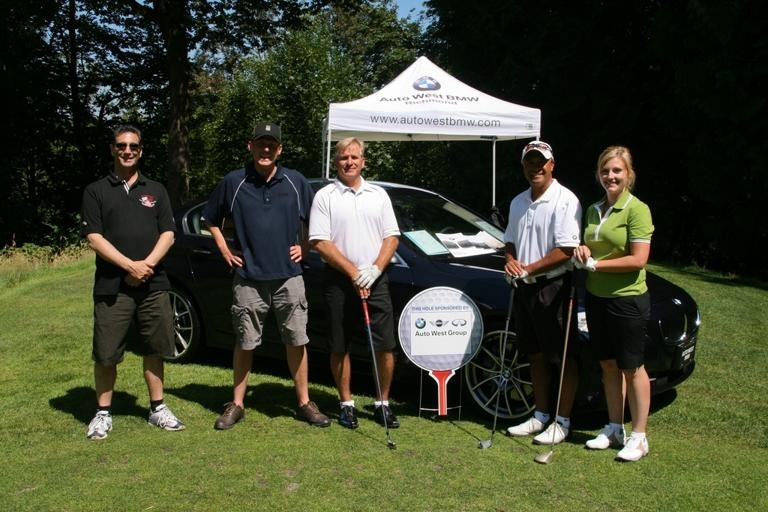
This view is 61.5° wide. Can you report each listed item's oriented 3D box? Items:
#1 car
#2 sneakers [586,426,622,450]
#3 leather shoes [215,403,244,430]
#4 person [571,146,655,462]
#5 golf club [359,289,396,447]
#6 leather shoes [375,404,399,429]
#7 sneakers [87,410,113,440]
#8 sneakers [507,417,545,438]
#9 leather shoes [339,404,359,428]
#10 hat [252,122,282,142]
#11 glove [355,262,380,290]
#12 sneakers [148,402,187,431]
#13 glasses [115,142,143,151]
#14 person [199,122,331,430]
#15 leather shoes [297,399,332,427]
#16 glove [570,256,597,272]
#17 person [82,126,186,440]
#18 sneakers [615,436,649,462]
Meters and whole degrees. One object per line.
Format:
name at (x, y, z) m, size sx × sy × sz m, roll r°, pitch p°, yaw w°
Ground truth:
car at (0.510, 0.529, 7.047) m, size 6.190 × 2.038 × 2.715 m, roll 2°, pitch 5°, yaw 32°
sneakers at (2.090, 1.770, 6.252) m, size 0.428 × 0.213 × 0.161 m, roll -1°, pitch -4°, yaw -9°
leather shoes at (-1.548, 1.610, 6.457) m, size 0.182 × 0.207 × 0.298 m, roll 5°, pitch 9°, yaw 24°
person at (2.225, 0.430, 6.190) m, size 0.787 × 2.939 × 0.603 m, roll 5°, pitch 9°, yaw 24°
golf club at (-0.056, 1.119, 6.565) m, size 0.114 × 1.502 × 0.219 m, roll -9°, pitch 9°, yaw 15°
leather shoes at (0.017, 1.644, 6.620) m, size 0.126 × 0.153 × 0.360 m, roll -5°, pitch 1°, yaw -32°
sneakers at (-2.739, 1.635, 6.247) m, size 0.262 × 0.232 × 0.241 m, roll -4°, pitch 10°, yaw -34°
sneakers at (1.428, 1.733, 6.499) m, size 0.374 × 0.165 × 0.158 m, roll -2°, pitch 0°, yaw -5°
leather shoes at (-0.352, 1.648, 6.497) m, size 0.108 × 0.155 × 0.323 m, roll 1°, pitch -7°, yaw -19°
hat at (-1.163, -1.247, 6.456) m, size 0.290 × 0.195 × 0.195 m, roll -2°, pitch 9°, yaw -22°
glove at (-0.154, 0.204, 6.320) m, size 0.242 × 0.187 × 0.073 m, roll -34°, pitch 3°, yaw -13°
sneakers at (-2.144, 1.603, 6.437) m, size 0.370 × 0.185 × 0.191 m, roll 13°, pitch 10°, yaw 20°
glasses at (-2.470, -1.059, 6.232) m, size 0.242 × 0.080 × 0.065 m, roll -3°, pitch 9°, yaw -24°
person at (-1.172, 0.171, 6.524) m, size 1.093 × 3.009 × 0.815 m, roll -1°, pitch 8°, yaw -13°
leather shoes at (-0.701, 1.612, 6.554) m, size 0.344 × 0.159 × 0.173 m, roll 7°, pitch 8°, yaw 40°
glove at (1.941, 0.076, 6.227) m, size 0.176 × 0.143 × 0.082 m, roll 11°, pitch 16°, yaw 28°
person at (-2.460, 0.241, 6.269) m, size 0.868 × 2.993 × 0.581 m, roll -2°, pitch 8°, yaw -19°
sneakers at (2.374, 1.822, 6.107) m, size 0.382 × 0.225 × 0.133 m, roll -1°, pitch 8°, yaw -17°
